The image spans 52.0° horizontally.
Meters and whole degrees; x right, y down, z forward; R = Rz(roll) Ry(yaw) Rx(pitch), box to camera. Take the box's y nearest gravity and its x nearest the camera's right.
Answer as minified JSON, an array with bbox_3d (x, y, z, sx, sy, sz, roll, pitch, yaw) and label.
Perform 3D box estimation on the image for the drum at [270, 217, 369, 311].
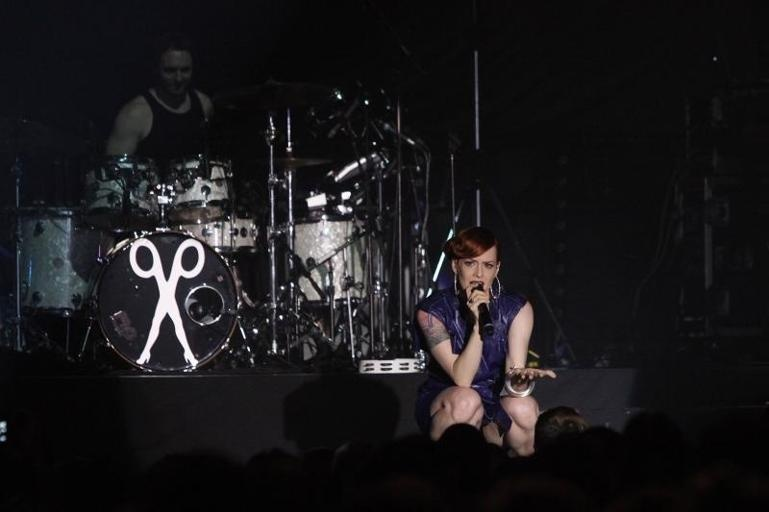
[{"bbox_3d":[-0.431,0.055,6.006,0.596,0.613,0.593,-7,-1,23],"label":"drum"}]

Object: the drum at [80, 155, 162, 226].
[{"bbox_3d":[-1.820,-0.428,5.441,0.471,0.461,0.470,0,-1,-24],"label":"drum"}]

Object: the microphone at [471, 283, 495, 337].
[{"bbox_3d":[0.525,0.302,4.230,0.070,0.062,0.318,5,33,-10],"label":"microphone"}]

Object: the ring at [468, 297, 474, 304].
[{"bbox_3d":[0.466,0.238,4.248,0.019,0.025,0.026,-3,-15,17],"label":"ring"}]

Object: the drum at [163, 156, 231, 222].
[{"bbox_3d":[-1.320,-0.434,5.694,0.446,0.456,0.432,4,-7,-29],"label":"drum"}]

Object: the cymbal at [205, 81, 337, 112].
[{"bbox_3d":[-0.821,-1.186,5.801,0.912,0.207,0.221,1,-4,13],"label":"cymbal"}]
